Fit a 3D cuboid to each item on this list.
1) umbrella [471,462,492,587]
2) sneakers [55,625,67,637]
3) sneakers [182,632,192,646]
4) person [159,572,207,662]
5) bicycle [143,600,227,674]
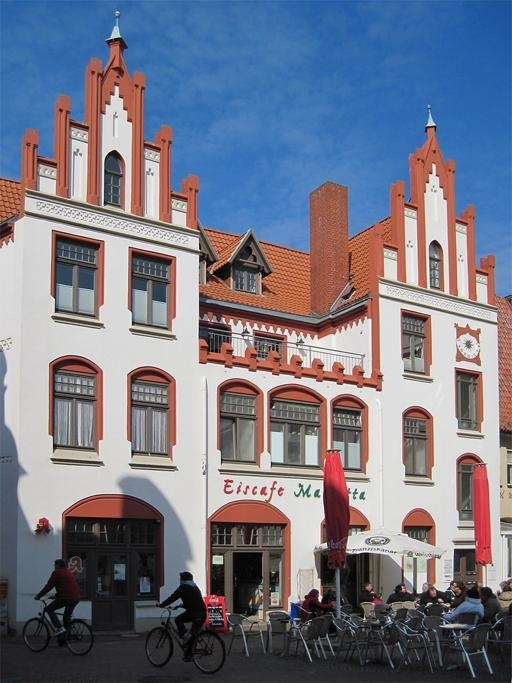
[{"bbox_3d":[6.152,4.628,38.325,0.403,2.712,0.694,-1,-12,6],"label":"umbrella"},{"bbox_3d":[-3.867,5.657,27.700,0.117,0.275,0.360,6,-13,-30],"label":"sneakers"},{"bbox_3d":[-1.272,5.408,25.910,0.075,0.166,0.255,13,-57,-1],"label":"sneakers"},{"bbox_3d":[-1.292,5.039,26.181,0.775,1.673,1.308,1,-13,-4],"label":"person"},{"bbox_3d":[-1.259,5.674,26.539,2.173,1.449,0.894,-12,-20,42],"label":"bicycle"}]
